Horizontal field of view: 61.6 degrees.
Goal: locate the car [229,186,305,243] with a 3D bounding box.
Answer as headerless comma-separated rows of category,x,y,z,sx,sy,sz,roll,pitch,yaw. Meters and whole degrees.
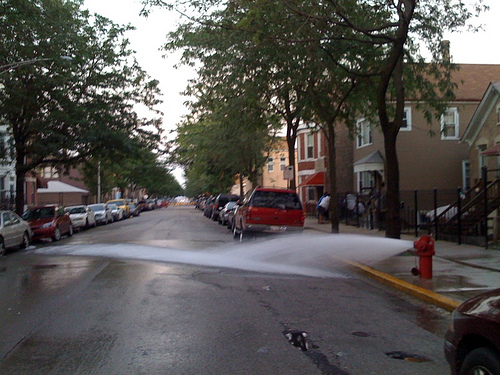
car,0.495,0.933,17.692,1.698,1.610,3.391,1,2,-10

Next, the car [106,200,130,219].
car,-14.227,2.169,45.691,1.466,1.408,2.617,1,4,-7

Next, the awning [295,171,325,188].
awning,6.207,-0.816,40.095,1.495,1.526,3.716,-4,-1,-26

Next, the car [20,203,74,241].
car,-10.862,1.854,22.575,1.435,1.254,3.060,-1,-7,-3

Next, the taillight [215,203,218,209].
taillight,-2.997,1.609,37.315,0.357,0.654,0.342,2,8,-2

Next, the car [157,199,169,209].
car,-25.264,4.449,120.428,2.291,2.678,4.568,-2,-9,21

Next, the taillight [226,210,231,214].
taillight,-1.667,1.787,30.803,0.107,0.244,0.507,-4,-1,-35

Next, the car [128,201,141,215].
car,-14.739,2.545,52.973,1.479,1.283,3.388,0,-4,-4

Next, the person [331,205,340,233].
person,4.276,1.541,21.195,0.348,1.396,2.561,-4,-1,11

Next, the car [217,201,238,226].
car,-1.568,1.809,29.132,1.803,1.616,4.164,0,1,-4
